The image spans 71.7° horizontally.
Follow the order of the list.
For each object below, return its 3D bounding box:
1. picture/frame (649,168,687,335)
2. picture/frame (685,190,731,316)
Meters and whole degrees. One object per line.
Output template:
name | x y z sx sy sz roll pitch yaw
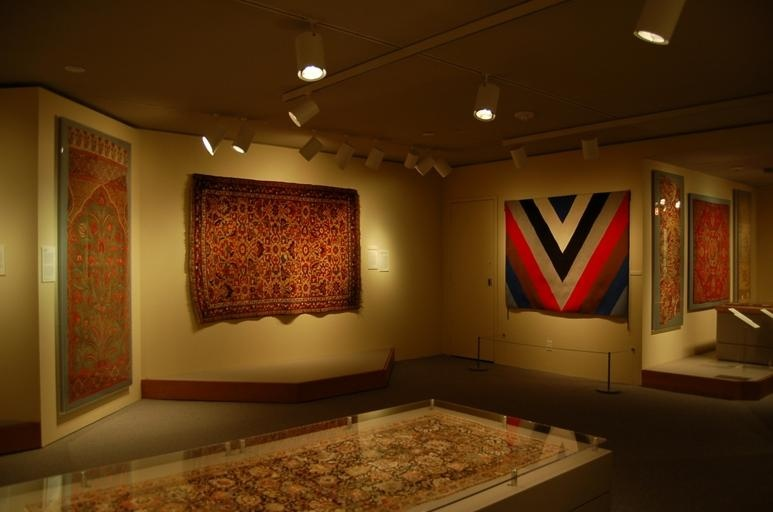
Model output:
picture/frame | 4.341 -0.078 8.221 1.299 2.440 0.088 -5 5 -42
picture/frame | 5.581 -0.081 9.153 1.840 1.887 0.069 0 0 -39
